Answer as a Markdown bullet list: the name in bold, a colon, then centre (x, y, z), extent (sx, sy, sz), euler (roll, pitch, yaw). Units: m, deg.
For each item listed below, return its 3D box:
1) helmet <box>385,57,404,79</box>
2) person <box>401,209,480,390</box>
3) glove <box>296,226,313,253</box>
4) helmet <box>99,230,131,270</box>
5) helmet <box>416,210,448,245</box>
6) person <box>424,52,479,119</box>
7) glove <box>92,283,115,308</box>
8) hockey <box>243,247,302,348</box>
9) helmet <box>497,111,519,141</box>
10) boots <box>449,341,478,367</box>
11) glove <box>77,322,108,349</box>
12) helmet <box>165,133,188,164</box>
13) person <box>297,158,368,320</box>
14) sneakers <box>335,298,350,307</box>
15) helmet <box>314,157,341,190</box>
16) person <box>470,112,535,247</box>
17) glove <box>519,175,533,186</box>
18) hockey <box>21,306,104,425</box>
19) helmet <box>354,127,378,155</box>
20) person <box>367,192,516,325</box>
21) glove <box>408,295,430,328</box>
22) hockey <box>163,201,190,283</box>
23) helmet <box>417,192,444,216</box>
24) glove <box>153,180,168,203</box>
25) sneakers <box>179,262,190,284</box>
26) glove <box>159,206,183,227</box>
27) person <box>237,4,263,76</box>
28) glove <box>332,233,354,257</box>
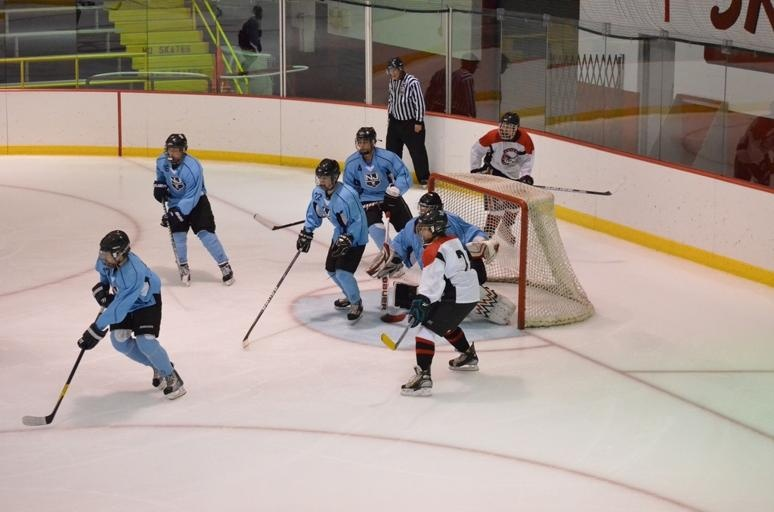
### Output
- **helmet**: centre (0.109, -2.424, 9.808), extent (0.218, 0.258, 0.246), euler (-5, 16, -18)
- **person**: centre (0.374, 0.319, 5.444), extent (0.346, 1.284, 0.699), euler (15, 21, 42)
- **glove**: centre (-0.768, -0.139, 6.653), extent (0.152, 0.196, 0.209), euler (15, 0, 6)
- **helmet**: centre (-1.857, -0.036, 5.139), extent (0.199, 0.257, 0.208), euler (-6, 16, -21)
- **helmet**: centre (0.314, -0.204, 5.403), extent (0.213, 0.250, 0.196), euler (0, 15, 1)
- **person**: centre (0.924, -2.359, 10.524), extent (0.845, 0.785, 0.199), euler (13, 20, 39)
- **glove**: centre (-2.005, 0.269, 5.398), extent (0.140, 0.197, 0.086), euler (-28, 29, 53)
- **hockey**: centre (-1.054, 0.412, 6.916), extent (0.136, 0.946, 0.100), euler (29, -13, 32)
- **helmet**: centre (1.324, -1.417, 8.107), extent (0.221, 0.260, 0.281), euler (7, 37, 20)
- **boots**: centre (0.548, 0.744, 5.786), extent (0.276, 0.234, 0.110), euler (1, 30, 4)
- **glove**: centre (-2.020, 0.543, 5.197), extent (0.163, 0.210, 0.077), euler (40, 7, -11)
- **helmet**: centre (-2.032, -1.056, 7.435), extent (0.221, 0.283, 0.291), euler (3, 14, 1)
- **person**: centre (-0.481, -0.139, 6.485), extent (0.566, 1.373, 0.314), euler (9, 18, 28)
- **sneakers**: centre (-0.413, 0.422, 6.785), extent (0.140, 0.057, 0.061), euler (3, 27, -15)
- **helmet**: centre (-0.537, -0.691, 6.340), extent (0.211, 0.238, 0.248), euler (2, 32, 7)
- **person**: centre (1.248, -0.832, 8.389), extent (0.757, 1.525, 0.629), euler (10, 22, 18)
- **glove**: centre (1.495, -0.812, 8.137), extent (0.105, 0.101, 0.264), euler (0, 5, -7)
- **hockey**: centre (-2.275, 0.887, 5.230), extent (0.307, 0.440, 0.592), euler (5, 15, 18)
- **helmet**: centre (-0.192, -1.086, 7.143), extent (0.234, 0.269, 0.275), euler (0, 2, 6)
- **person**: centre (0.478, 0.027, 6.301), extent (0.855, 0.903, 0.667), euler (-33, 41, -27)
- **glove**: centre (0.216, 0.384, 5.304), extent (0.155, 0.207, 0.095), euler (16, 4, -6)
- **hockey**: centre (-2.108, -0.130, 7.560), extent (0.148, 0.863, 0.050), euler (-13, 0, 19)
- **helmet**: centre (0.320, -0.394, 5.682), extent (0.200, 0.186, 0.171), euler (0, 4, -7)
- **glove**: centre (-2.280, -0.643, 7.570), extent (0.155, 0.173, 0.185), euler (-2, 9, -5)
- **sneakers**: centre (-1.968, 0.184, 7.433), extent (0.081, 0.229, 0.107), euler (-9, -17, -11)
- **glove**: centre (-2.132, -0.377, 7.389), extent (0.285, 0.202, 0.159), euler (12, 19, 38)
- **person**: centre (-2.128, -3.380, 11.808), extent (0.444, 1.027, 0.151), euler (8, 17, 27)
- **glove**: centre (-0.389, -0.079, 6.363), extent (0.185, 0.137, 0.083), euler (-37, 22, 51)
